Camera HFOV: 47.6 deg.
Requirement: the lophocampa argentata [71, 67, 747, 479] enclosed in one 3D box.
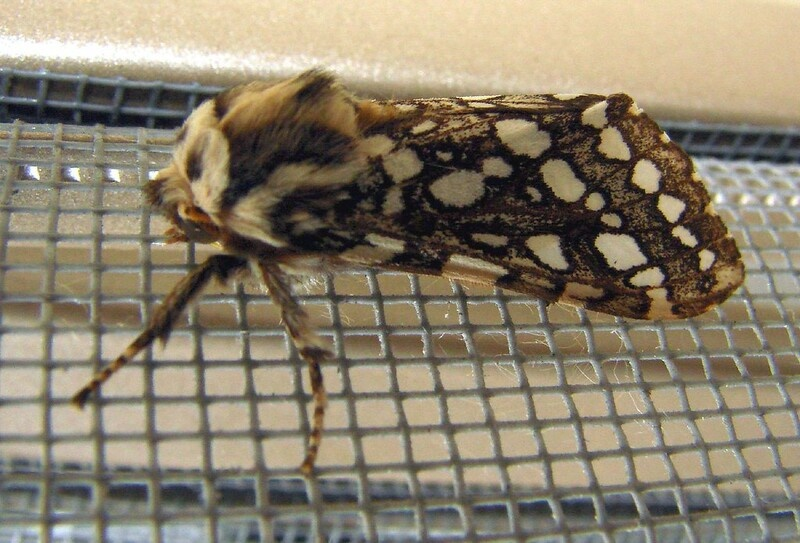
[{"bbox_3d":[0.098,-0.080,2.395,1.350,0.890,1.615,-1,20,-4],"label":"lophocampa argentata"}]
